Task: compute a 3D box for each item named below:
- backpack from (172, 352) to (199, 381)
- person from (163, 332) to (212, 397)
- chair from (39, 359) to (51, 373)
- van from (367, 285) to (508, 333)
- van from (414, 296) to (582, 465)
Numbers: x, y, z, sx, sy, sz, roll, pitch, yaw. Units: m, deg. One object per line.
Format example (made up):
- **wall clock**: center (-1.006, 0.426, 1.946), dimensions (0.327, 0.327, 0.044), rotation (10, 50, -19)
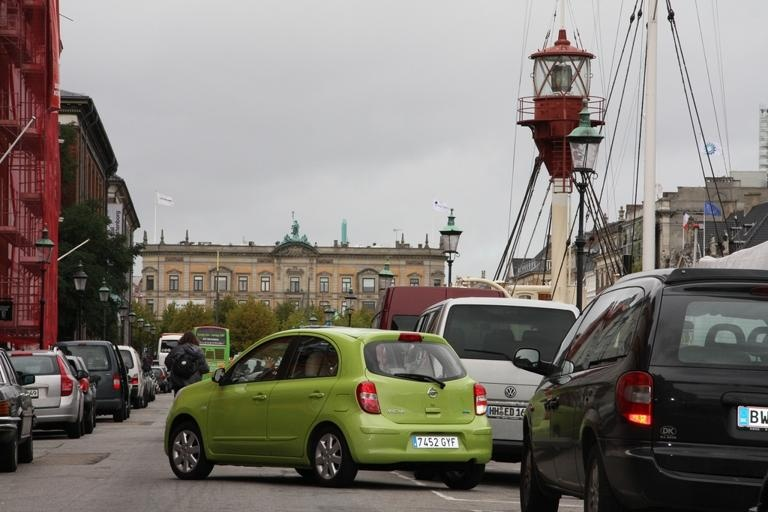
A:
- **backpack**: center (-4.163, 2.311, 23.014), dimensions (0.440, 0.608, 0.579), rotation (7, -9, 7)
- **person**: center (-4.136, 2.170, 22.908), dimensions (1.001, 1.401, 1.390), rotation (-2, -10, 14)
- **chair**: center (-7.309, 2.351, 23.827), dimensions (0.203, 0.173, 0.335), rotation (0, 2, -7)
- **van**: center (0.789, 1.160, 26.263), dimensions (1.519, 1.194, 2.282), rotation (1, -1, -11)
- **van**: center (1.728, 1.655, 17.565), dimensions (1.892, 1.432, 2.739), rotation (0, 2, -7)
